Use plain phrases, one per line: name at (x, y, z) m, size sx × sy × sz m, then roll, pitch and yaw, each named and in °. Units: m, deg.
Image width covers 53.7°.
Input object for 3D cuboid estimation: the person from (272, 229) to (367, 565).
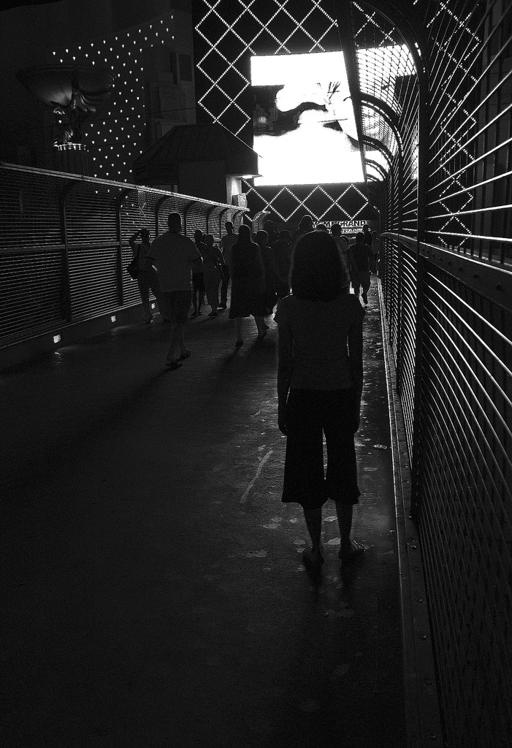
person at (0.390, 0.185, 3.005) m, size 0.523 × 1.990 × 0.336 m, roll -1°, pitch 5°, yaw 3°
